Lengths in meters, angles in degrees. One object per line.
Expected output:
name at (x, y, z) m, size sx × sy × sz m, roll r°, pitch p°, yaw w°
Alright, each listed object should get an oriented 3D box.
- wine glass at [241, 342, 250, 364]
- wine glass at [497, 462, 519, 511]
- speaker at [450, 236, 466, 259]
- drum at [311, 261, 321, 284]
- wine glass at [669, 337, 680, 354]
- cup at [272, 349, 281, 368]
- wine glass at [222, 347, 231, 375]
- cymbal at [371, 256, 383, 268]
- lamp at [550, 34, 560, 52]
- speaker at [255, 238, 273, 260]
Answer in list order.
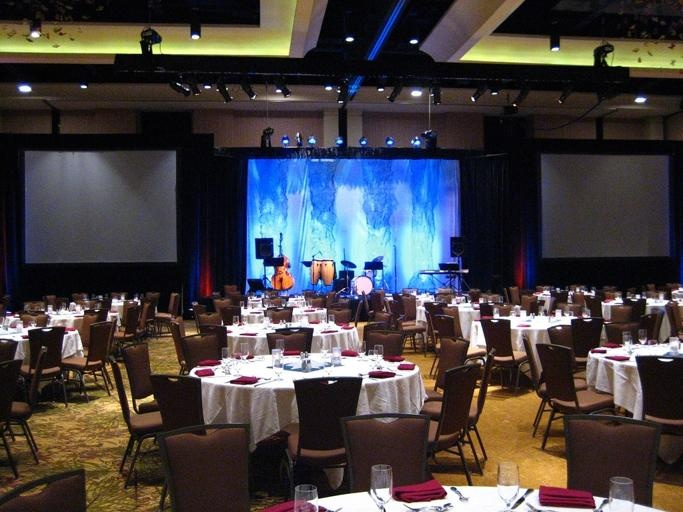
wine glass at (-0.985, 0.968, 5.893) m, size 0.082 × 0.177 × 0.263 m, roll -2°, pitch -1°, yaw -10°
wine glass at (0.935, 1.293, 3.248) m, size 0.113 × 0.283 × 0.235 m, roll -2°, pitch -1°, yaw 14°
speaker at (3.049, -0.257, 15.334) m, size 0.445 × 0.710 × 0.471 m, roll -1°, pitch 2°, yaw 1°
drum at (-0.677, 0.407, 15.289) m, size 0.265 × 0.622 × 0.134 m, roll -2°, pitch 0°, yaw -4°
wine glass at (3.402, 0.904, 5.882) m, size 0.101 × 0.191 × 0.266 m, roll -2°, pitch -1°, yaw 30°
cup at (-0.619, 0.978, 5.547) m, size 0.081 × 0.176 × 0.097 m, roll -2°, pitch -1°, yaw -4°
wine glass at (-1.111, 0.993, 5.554) m, size 0.083 × 0.242 × 0.440 m, roll -2°, pitch -2°, yaw -11°
cymbal at (0.932, 0.150, 15.084) m, size 0.286 × 0.316 × 0.291 m, roll -1°, pitch -10°, yaw 8°
lamp at (3.512, -3.566, 9.508) m, size 0.110 × 0.279 × 0.118 m, roll -2°, pitch 0°, yaw 11°
speaker at (-2.000, -0.195, 14.836) m, size 0.560 × 0.540 × 0.300 m, roll -3°, pitch -1°, yaw 39°
